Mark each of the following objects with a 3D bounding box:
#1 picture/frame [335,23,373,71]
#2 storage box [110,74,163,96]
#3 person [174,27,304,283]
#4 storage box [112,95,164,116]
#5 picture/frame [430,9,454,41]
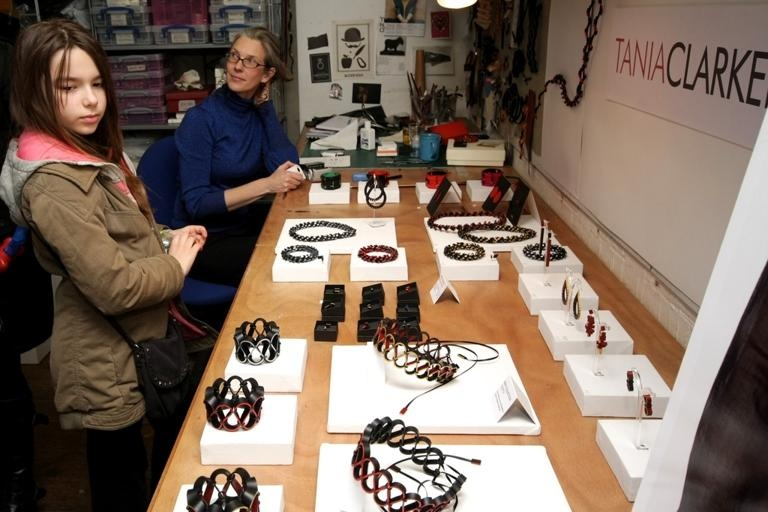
[{"bbox_3d":[-0.255,-1.854,4.503,0.364,0.495,0.033,0,25,-2],"label":"picture/frame"},{"bbox_3d":[-1.999,-1.422,4.287,0.294,0.104,0.305,5,15,18],"label":"storage box"},{"bbox_3d":[-0.771,-0.553,3.007,0.655,1.506,0.699,0,20,-10],"label":"person"},{"bbox_3d":[-1.990,-1.268,4.361,0.435,0.123,0.458,-1,16,-6],"label":"storage box"},{"bbox_3d":[0.503,-2.033,4.481,0.244,0.295,0.038,-1,12,-3],"label":"picture/frame"}]
